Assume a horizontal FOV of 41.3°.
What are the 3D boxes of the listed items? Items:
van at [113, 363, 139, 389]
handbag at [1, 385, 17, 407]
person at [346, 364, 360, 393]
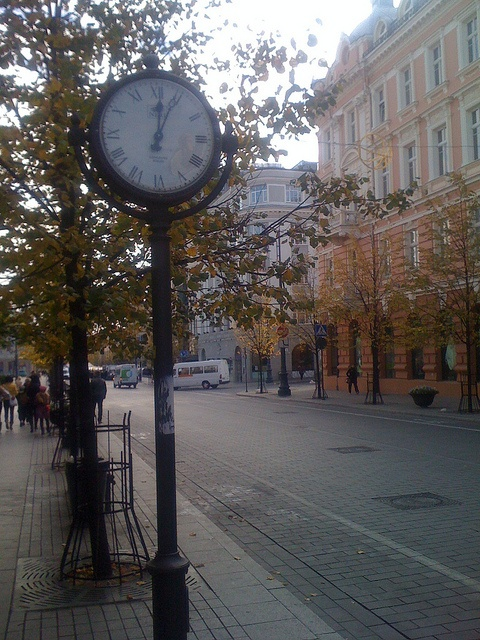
[{"bbox_3d":[-11.467,5.708,64.959,1.600,2.164,3.492,1,0,-17],"label":"van"},{"bbox_3d":[-7.658,2.529,21.266,0.313,0.465,0.608,-25,-33,-17],"label":"handbag"},{"bbox_3d":[5.874,3.155,33.302,0.554,1.430,2.705,-2,-5,11],"label":"person"}]
